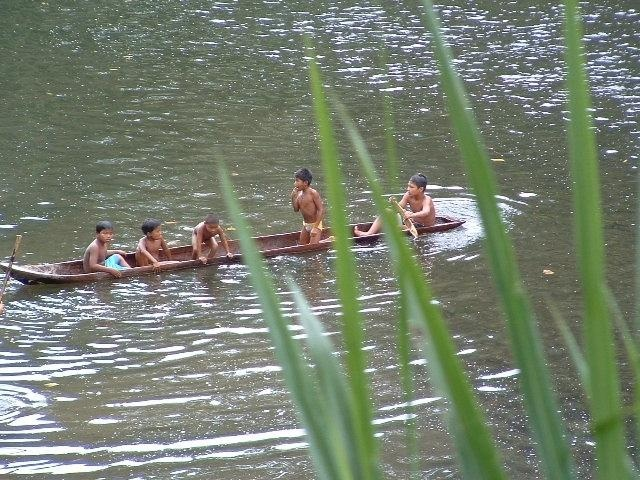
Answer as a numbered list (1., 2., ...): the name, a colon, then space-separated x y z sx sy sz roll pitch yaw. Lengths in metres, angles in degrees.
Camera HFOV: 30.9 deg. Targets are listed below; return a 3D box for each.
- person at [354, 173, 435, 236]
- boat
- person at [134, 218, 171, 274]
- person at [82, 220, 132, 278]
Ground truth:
1. person: 1.382 -0.528 20.961 1.781 0.937 0.881 -16 28 -32
2. boat: -1.747 0.140 19.900 7.342 0.559 0.873 -8 16 -18
3. person: -2.886 0.065 19.520 0.635 0.813 0.588 -10 19 -6
4. person: -3.567 0.145 19.321 0.725 0.911 0.752 2 21 25
